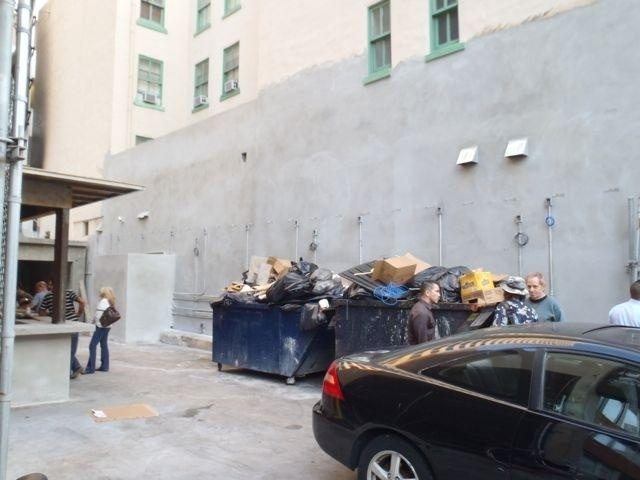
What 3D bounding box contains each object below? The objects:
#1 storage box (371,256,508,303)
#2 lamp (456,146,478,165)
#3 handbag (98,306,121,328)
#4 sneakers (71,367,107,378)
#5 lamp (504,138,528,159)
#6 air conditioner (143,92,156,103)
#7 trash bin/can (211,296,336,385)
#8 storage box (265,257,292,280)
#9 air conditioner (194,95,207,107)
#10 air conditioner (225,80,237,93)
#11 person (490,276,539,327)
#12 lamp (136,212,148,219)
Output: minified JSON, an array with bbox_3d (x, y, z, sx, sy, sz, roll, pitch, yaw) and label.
[{"bbox_3d":[1.791,0.576,9.545,1.394,0.446,0.898,15,15,30],"label":"storage box"},{"bbox_3d":[2.709,-1.542,10.856,0.305,0.305,0.160,-9,-23,44],"label":"lamp"},{"bbox_3d":[-4.092,1.487,11.538,0.351,0.333,0.191,1,0,-18],"label":"handbag"},{"bbox_3d":[-4.487,2.577,11.528,0.566,0.247,0.177,4,-10,-20],"label":"sneakers"},{"bbox_3d":[3.427,-1.593,10.316,0.145,0.345,0.345,27,-18,-35],"label":"lamp"},{"bbox_3d":[-6.149,-5.092,21.413,0.292,0.410,0.559,-2,-2,33],"label":"air conditioner"},{"bbox_3d":[-0.964,1.980,11.795,2.660,1.422,0.695,1,0,36],"label":"trash bin/can"},{"bbox_3d":[-0.951,0.601,12.865,0.581,0.664,0.428,9,-8,-43],"label":"storage box"},{"bbox_3d":[-4.067,-4.706,20.213,0.406,0.385,0.425,5,-5,-40],"label":"air conditioner"},{"bbox_3d":[-2.821,-4.915,18.884,0.589,0.358,0.241,1,0,30],"label":"air conditioner"},{"bbox_3d":[2.626,0.840,7.977,0.407,0.311,0.849,16,37,7],"label":"person"},{"bbox_3d":[-5.664,-0.783,19.007,0.221,0.120,0.322,-4,-9,31],"label":"lamp"}]
